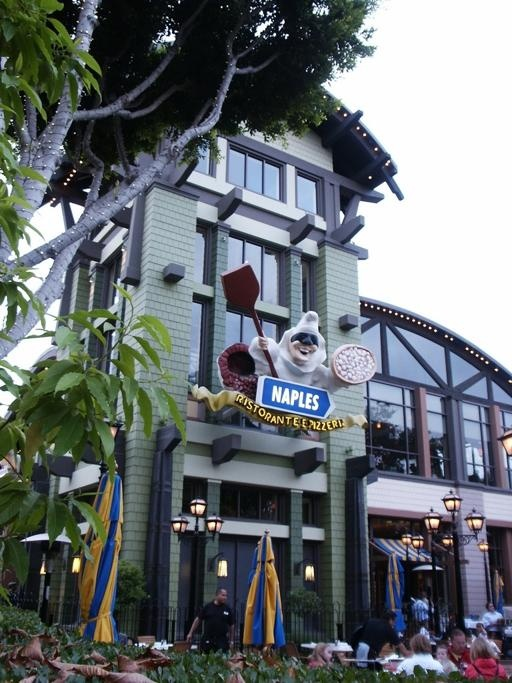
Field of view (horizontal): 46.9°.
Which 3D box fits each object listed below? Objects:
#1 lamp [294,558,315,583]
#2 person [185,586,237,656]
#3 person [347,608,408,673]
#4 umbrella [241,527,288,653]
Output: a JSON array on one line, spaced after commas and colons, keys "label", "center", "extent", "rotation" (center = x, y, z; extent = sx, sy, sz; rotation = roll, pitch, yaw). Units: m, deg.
[{"label": "lamp", "center": [1.488, 7.197, 18.442], "extent": [0.514, 0.725, 0.935], "rotation": [-10, -20, 31]}, {"label": "person", "center": [-0.821, 5.258, 11.121], "extent": [0.763, 1.022, 0.989], "rotation": [2, -21, -3]}, {"label": "person", "center": [1.915, 4.805, 9.371], "extent": [0.772, 0.853, 1.502], "rotation": [-2, -21, 8]}, {"label": "umbrella", "center": [0.187, 5.363, 12.809], "extent": [0.915, 2.302, 0.586], "rotation": [-14, -26, 34]}]
